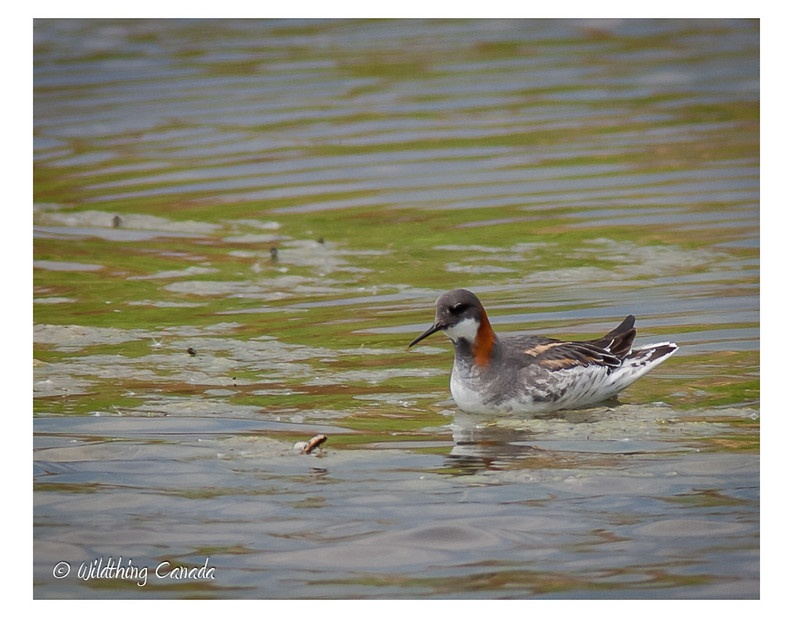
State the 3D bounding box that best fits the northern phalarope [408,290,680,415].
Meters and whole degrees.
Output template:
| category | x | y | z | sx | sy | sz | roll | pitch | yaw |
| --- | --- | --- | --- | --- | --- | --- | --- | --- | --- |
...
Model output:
| category | x | y | z | sx | sy | sz | roll | pitch | yaw |
| --- | --- | --- | --- | --- | --- | --- | --- | --- | --- |
| northern phalarope | 1.594 | 0.496 | 9.437 | 2.364 | 1.144 | 2.701 | 10 | 15 | 37 |
